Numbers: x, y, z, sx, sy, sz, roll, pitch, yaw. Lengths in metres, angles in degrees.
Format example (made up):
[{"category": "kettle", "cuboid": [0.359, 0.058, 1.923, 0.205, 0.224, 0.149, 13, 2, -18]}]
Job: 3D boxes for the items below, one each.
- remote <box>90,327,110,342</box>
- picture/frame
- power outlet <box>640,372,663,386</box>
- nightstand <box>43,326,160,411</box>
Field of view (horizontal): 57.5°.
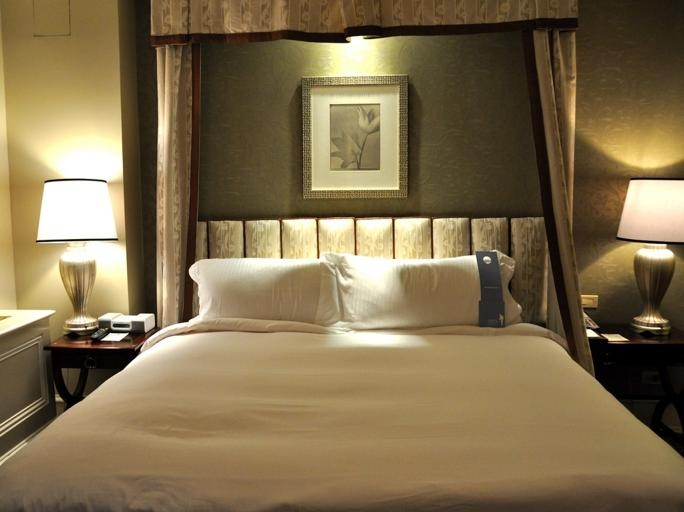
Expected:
[{"category": "remote", "cuboid": [-1.526, 0.489, 3.957, 0.049, 0.028, 0.099, 8, 19, -8]}, {"category": "picture/frame", "cuboid": [0.097, -0.842, 4.253, 0.717, 0.955, 0.036, 0, 0, 0]}, {"category": "power outlet", "cuboid": [1.974, 0.775, 4.012, 0.113, 0.086, 0.028, 1, 0, 6]}, {"category": "nightstand", "cuboid": [-1.542, 0.614, 4.048, 0.455, 0.552, 0.542, 1, 9, -1]}]
